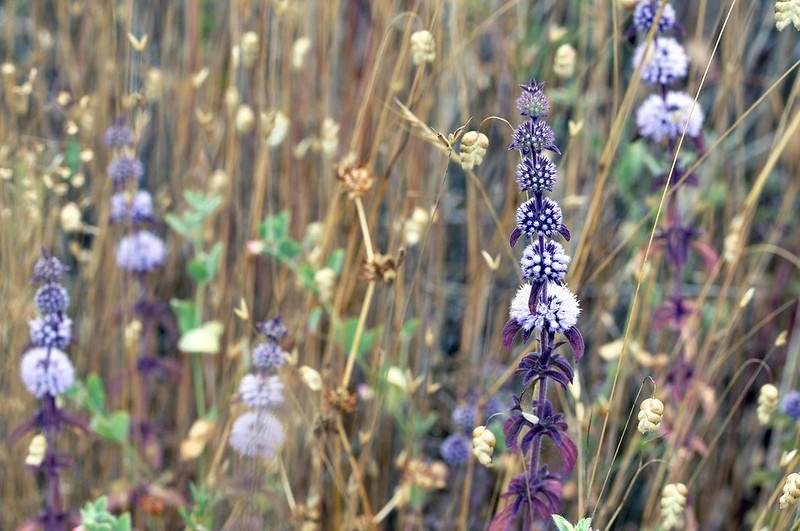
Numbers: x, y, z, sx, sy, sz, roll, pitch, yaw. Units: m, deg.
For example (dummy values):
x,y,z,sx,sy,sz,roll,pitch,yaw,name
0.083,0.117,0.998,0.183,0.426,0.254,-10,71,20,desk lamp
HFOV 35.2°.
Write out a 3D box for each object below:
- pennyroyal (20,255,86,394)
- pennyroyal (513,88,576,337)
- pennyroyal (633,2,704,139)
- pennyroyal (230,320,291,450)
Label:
x,y,z,sx,sy,sz,roll,pitch,yaw,name
-0.857,0.140,3.066,0.127,0.350,0.173,0,7,-16,pennyroyal
0.330,-0.160,2.951,0.146,0.536,0.179,2,6,8,pennyroyal
0.701,-0.504,3.282,0.186,0.362,0.432,3,7,14,pennyroyal
-0.345,0.295,3.071,0.135,0.355,0.108,1,6,-6,pennyroyal
